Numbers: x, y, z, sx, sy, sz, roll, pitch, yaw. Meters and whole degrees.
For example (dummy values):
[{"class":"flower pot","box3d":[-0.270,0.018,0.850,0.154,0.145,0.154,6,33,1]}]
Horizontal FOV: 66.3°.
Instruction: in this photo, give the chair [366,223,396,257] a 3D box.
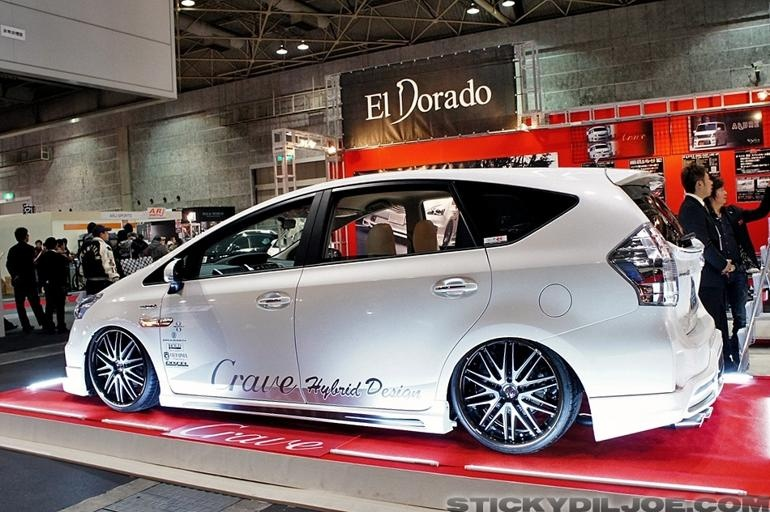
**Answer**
[{"class":"chair","box3d":[-0.027,-0.107,4.738,0.214,0.328,0.162,-2,-26,3]}]

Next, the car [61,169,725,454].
[{"class":"car","box3d":[0.022,0.390,4.921,4.209,1.528,2.379,1,0,20]}]

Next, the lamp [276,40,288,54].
[{"class":"lamp","box3d":[-3.993,-7.999,22.726,0.400,0.462,0.418,0,-11,-3]}]

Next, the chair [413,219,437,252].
[{"class":"chair","box3d":[0.313,-0.121,4.606,0.202,0.306,0.157,0,-28,7]}]

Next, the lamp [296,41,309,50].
[{"class":"lamp","box3d":[-3.194,-8.075,22.641,0.493,0.221,0.688,-5,6,-2]}]
